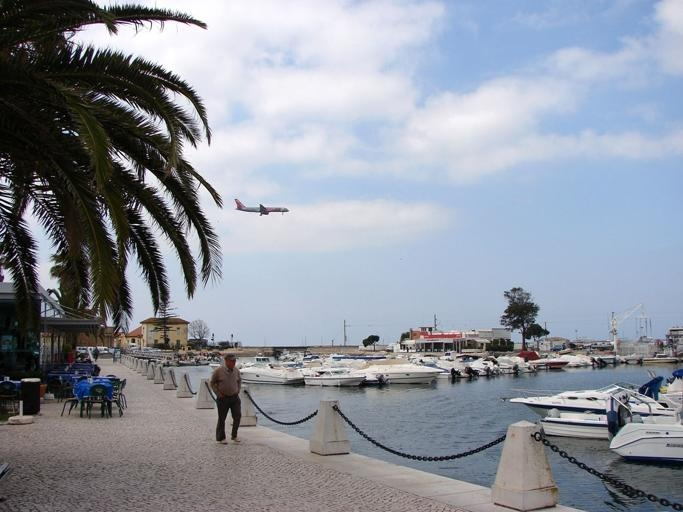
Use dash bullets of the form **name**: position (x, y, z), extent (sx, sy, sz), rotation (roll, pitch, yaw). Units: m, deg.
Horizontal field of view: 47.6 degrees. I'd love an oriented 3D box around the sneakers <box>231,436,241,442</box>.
- **sneakers**: position (-2.677, 4.664, 19.691), extent (0.272, 0.108, 0.102), rotation (-6, -6, 43)
